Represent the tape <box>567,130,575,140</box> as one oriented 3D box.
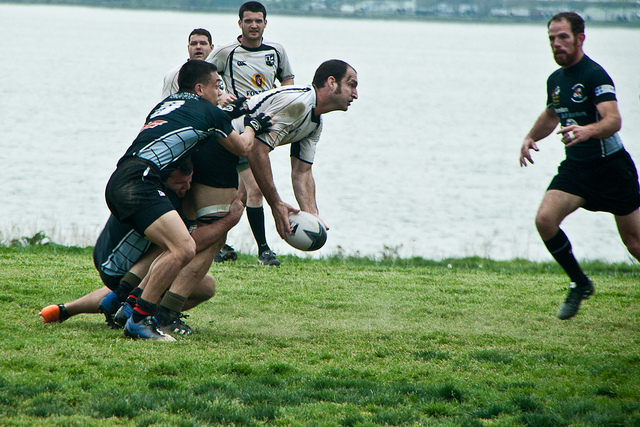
[{"bbox_3d":[4.108,-1.315,20.049,0.107,0.136,0.028,5,10,12],"label":"tape"}]
